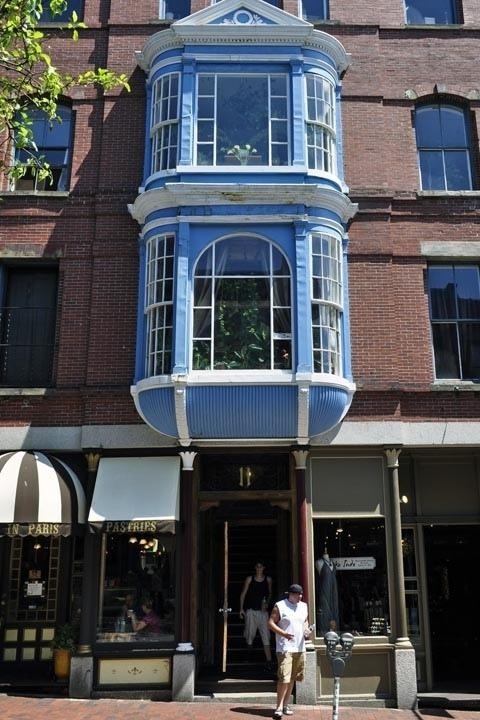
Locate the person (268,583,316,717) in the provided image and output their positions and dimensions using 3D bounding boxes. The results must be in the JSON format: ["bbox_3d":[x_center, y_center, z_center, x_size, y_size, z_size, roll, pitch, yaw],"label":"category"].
[{"bbox_3d":[0.612,3.595,8.533,0.454,1.607,0.801,-2,-13,5],"label":"person"}]

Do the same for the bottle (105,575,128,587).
[{"bbox_3d":[-1.917,3.371,10.699,0.389,0.271,0.081,-2,-13,5],"label":"bottle"}]

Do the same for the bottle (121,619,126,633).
[{"bbox_3d":[-1.771,3.962,10.424,0.095,0.203,0.064,-1,-13,1],"label":"bottle"}]

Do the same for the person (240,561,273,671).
[{"bbox_3d":[0.268,4.147,11.530,0.512,1.529,1.114,-1,-13,0],"label":"person"}]

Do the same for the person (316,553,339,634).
[{"bbox_3d":[1.358,3.551,10.664,0.344,1.225,0.148,-2,-13,5],"label":"person"}]

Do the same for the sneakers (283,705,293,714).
[{"bbox_3d":[0.627,4.448,8.829,0.071,0.104,0.228,6,-27,-7],"label":"sneakers"}]
